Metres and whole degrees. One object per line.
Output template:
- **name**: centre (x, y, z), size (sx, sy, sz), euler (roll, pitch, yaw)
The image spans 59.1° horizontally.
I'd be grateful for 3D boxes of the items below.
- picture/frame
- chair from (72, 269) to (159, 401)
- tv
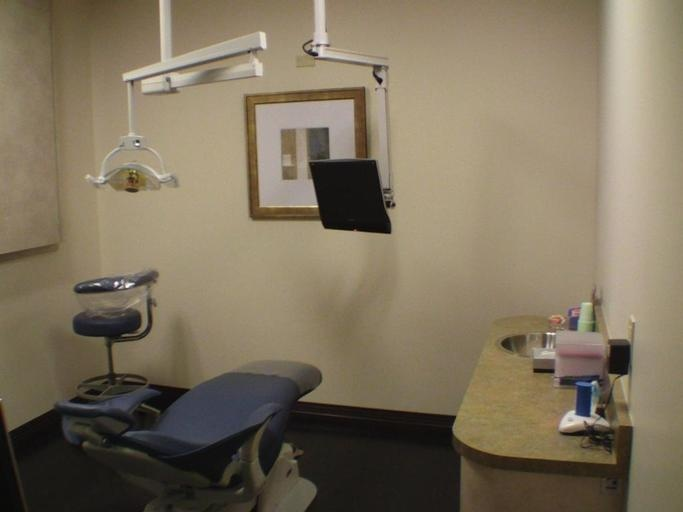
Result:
- **picture/frame**: centre (-0.202, -0.683, 3.791), size (0.873, 0.947, 0.060), euler (0, 7, 19)
- **chair**: centre (-1.617, 0.541, 4.266), size (0.530, 0.974, 0.535), euler (2, 11, -10)
- **tv**: centre (0.034, -0.323, 3.251), size (0.462, 0.377, 0.225), euler (4, 7, 33)
